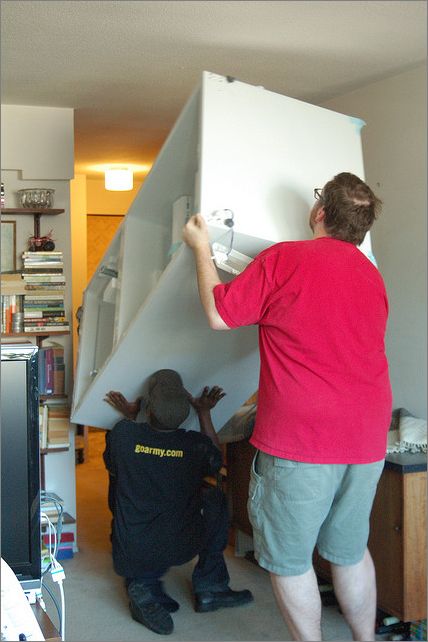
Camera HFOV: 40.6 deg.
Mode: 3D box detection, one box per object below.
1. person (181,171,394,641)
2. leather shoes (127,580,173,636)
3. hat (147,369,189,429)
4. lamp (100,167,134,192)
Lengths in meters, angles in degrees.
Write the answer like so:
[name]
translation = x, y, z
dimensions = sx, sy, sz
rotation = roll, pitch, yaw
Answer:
[person]
translation = 0.201, 0.277, 1.516
dimensions = 0.554, 1.141, 0.263
rotation = 0, 0, -3
[leather shoes]
translation = -0.256, 1.060, 2.180
dimensions = 0.095, 0.102, 0.265
rotation = -10, 7, -32
[hat]
translation = -0.187, 0.310, 2.297
dimensions = 0.164, 0.225, 0.127
rotation = 5, -10, -12
[lamp]
translation = -0.890, -1.323, 5.365
dimensions = 0.292, 0.177, 0.270
rotation = -1, 5, -2
